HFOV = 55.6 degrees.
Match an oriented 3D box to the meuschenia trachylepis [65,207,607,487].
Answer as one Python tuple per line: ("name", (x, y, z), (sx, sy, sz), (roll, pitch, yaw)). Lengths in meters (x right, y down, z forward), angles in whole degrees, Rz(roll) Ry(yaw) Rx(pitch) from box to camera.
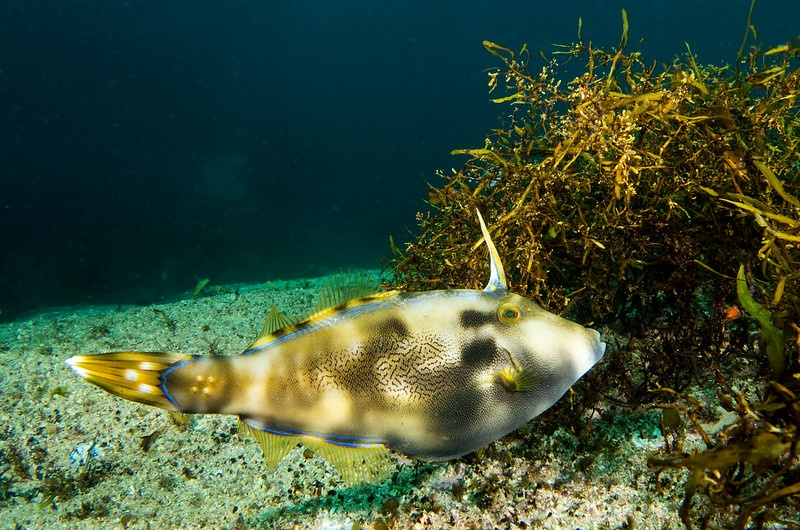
("meuschenia trachylepis", (-1.956, 4.889, 32.649), (22.292, 10.100, 5.866), (-6, 14, -10))
